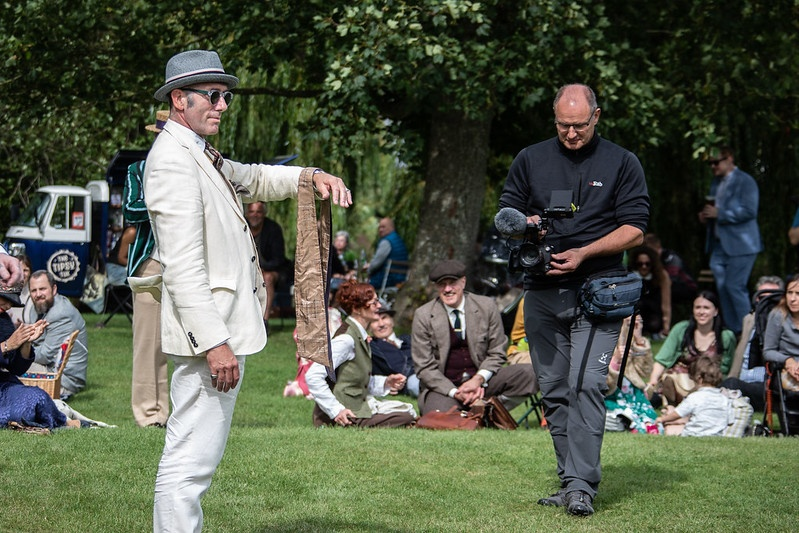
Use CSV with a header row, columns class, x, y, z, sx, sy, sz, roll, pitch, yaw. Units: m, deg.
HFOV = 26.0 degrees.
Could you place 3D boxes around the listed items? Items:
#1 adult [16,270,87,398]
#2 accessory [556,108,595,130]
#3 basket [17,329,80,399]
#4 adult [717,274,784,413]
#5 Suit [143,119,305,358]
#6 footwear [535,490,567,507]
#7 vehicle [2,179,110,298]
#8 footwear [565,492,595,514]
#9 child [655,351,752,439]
class,x,y,z,sx,sy,sz,roll,pitch,yaw
adult,-4.936,1.180,24.417,1.211,2.217,0.920,2,12,-12
accessory,2.048,-1.752,20.278,0.275,0.089,0.292,2,27,22
basket,-4.794,1.374,23.332,0.710,0.949,0.608,6,0,-7
adult,4.877,1.172,23.712,0.757,1.354,0.548,-21,25,-28
Suit,-2.260,-0.761,20.490,2.131,3.798,2.472,-3,13,-6
footwear,1.785,2.709,20.435,0.383,0.179,0.143,3,-6,6
vehicle,-5.866,-0.566,30.729,2.235,2.286,1.641,0,3,-17
footwear,2.088,2.729,20.166,0.340,0.282,0.236,1,0,14
child,4.150,1.785,23.511,0.868,1.013,1.191,5,-5,-40
